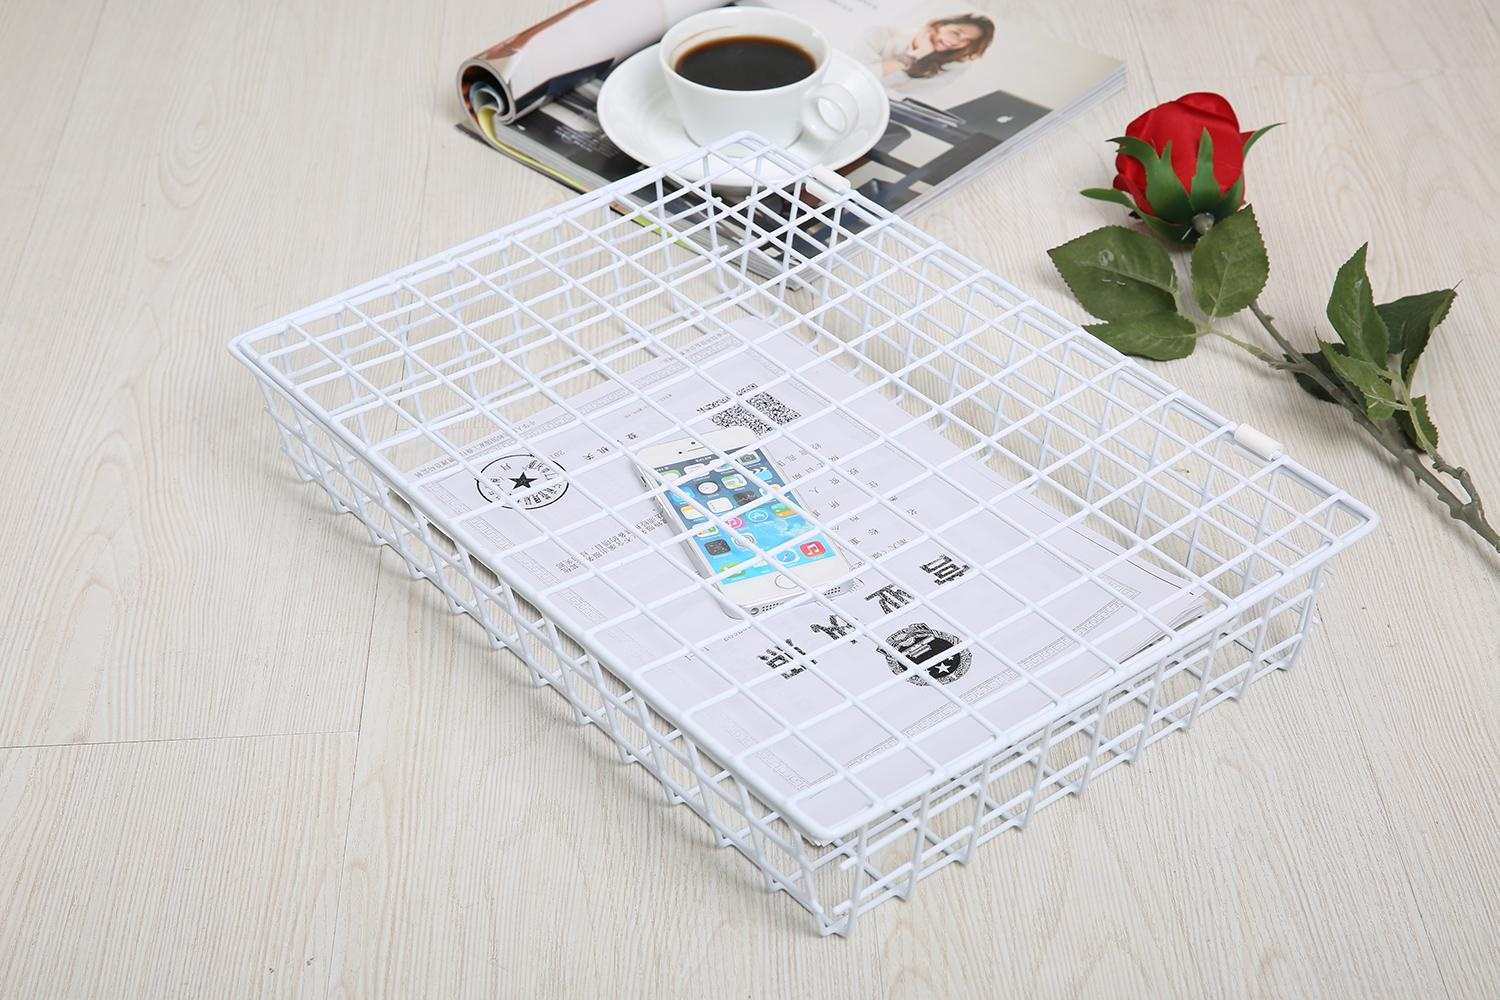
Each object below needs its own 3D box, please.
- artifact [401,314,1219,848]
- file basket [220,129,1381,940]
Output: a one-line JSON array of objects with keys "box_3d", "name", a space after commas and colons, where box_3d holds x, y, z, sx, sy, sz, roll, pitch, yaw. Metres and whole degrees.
[{"box_3d": [0.026, 0.019, 1.034, 0.487, 0.198, 0.336, 39, 72, 20], "name": "artifact"}, {"box_3d": [0.019, -0.011, 1.120, 0.582, 0.173, 0.717, -32, 56, -26], "name": "file basket"}]
